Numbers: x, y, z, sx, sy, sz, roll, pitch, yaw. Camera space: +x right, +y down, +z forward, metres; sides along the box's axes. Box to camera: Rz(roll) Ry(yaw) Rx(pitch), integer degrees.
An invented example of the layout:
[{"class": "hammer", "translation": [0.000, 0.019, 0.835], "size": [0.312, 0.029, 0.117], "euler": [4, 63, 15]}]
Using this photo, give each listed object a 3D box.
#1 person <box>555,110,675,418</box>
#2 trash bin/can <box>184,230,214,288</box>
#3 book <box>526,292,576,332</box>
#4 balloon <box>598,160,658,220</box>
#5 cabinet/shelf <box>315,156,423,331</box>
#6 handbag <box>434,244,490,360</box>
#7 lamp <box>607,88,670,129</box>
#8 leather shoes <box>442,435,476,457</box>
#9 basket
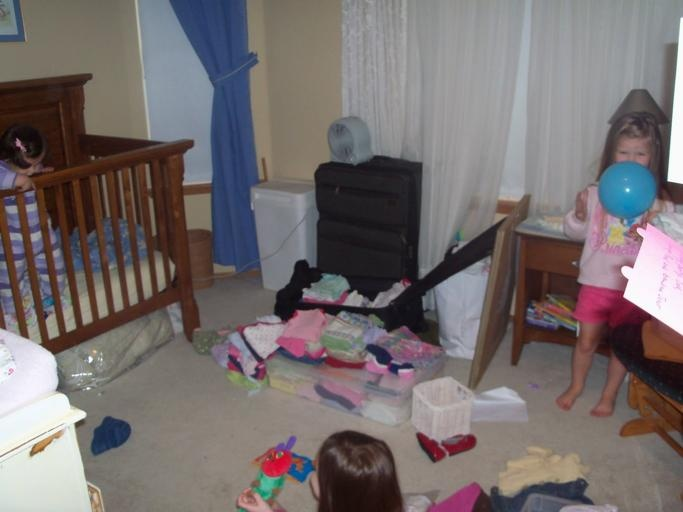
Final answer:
[{"class": "person", "translation": [1.272, 0.083, 2.526], "size": [0.415, 1.443, 0.481], "euler": [5, 24, 12]}, {"class": "trash bin/can", "translation": [-1.027, 0.030, 3.811], "size": [0.238, 0.396, 0.272], "euler": [-8, 26, -20]}, {"class": "book", "translation": [1.211, 0.321, 3.055], "size": [0.204, 0.065, 0.213], "euler": [4, 57, 32]}, {"class": "balloon", "translation": [1.125, -0.255, 2.144], "size": [0.214, 0.276, 0.220], "euler": [-3, 6, -4]}, {"class": "cabinet/shelf", "translation": [0.193, -0.077, 3.365], "size": [0.798, 1.158, 0.544], "euler": [11, 21, 33]}, {"class": "handbag", "translation": [0.690, 0.271, 2.990], "size": [0.382, 0.608, 0.453], "euler": [6, 22, 20]}, {"class": "lamp", "translation": [1.461, -0.730, 2.645], "size": [0.253, 0.146, 0.257], "euler": [11, 18, 43]}, {"class": "leather shoes", "translation": [0.549, 0.886, 2.485], "size": [0.128, 0.040, 0.077], "euler": [-13, 41, -9]}, {"class": "basket", "translation": [0.485, 0.736, 2.603], "size": [0.263, 0.213, 0.263], "euler": [-6, 9, -28]}]
